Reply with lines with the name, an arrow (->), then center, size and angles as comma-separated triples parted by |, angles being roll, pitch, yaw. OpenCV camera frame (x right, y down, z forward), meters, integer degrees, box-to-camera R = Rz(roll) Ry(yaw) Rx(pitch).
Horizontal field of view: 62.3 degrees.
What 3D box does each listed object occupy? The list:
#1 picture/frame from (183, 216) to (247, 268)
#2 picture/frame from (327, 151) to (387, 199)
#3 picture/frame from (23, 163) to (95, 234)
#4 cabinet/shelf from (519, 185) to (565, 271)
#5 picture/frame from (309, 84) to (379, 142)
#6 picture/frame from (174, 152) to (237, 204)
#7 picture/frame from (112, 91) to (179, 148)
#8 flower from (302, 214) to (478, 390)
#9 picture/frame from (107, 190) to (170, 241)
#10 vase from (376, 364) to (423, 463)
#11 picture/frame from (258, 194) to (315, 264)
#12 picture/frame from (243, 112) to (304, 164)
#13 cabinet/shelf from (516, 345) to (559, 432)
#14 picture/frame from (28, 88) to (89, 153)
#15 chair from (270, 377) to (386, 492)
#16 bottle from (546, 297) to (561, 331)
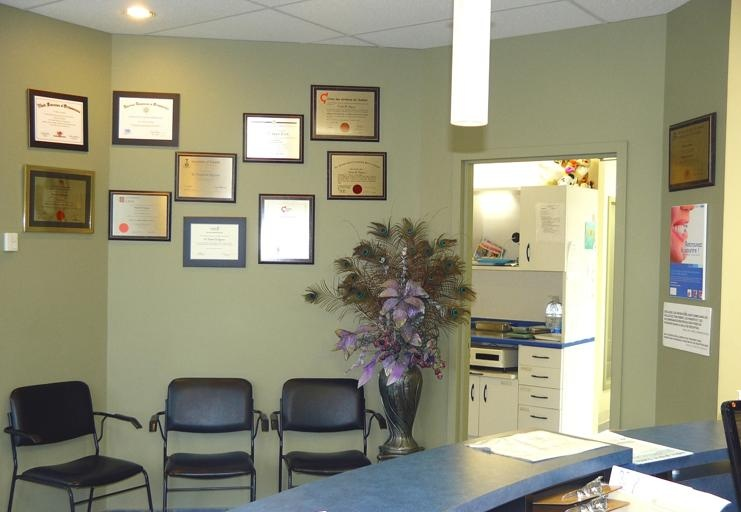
picture/frame -> -1.287, -0.109, 4.932 | 0.397, 0.351, 0.015 | 0, 5, -3
picture/frame -> -0.143, -0.671, 5.022 | 0.374, 0.329, 0.027 | 0, 4, -4
picture/frame -> -2.375, -0.431, 4.609 | 0.522, 0.509, 0.034 | -4, 3, -43
cabinet/shelf -> 1.799, -0.288, 6.689 | 0.570, 0.923, 0.563 | 0, 3, -11
picture/frame -> -0.248, -1.173, 5.009 | 0.455, 0.377, 0.021 | 0, 3, -3
picture/frame -> -1.354, -0.627, 4.921 | 0.395, 0.348, 0.028 | 1, -2, -5
picture/frame -> -1.833, -1.102, 4.901 | 0.431, 0.380, 0.033 | -1, 4, -3
flower -> 0.289, 0.488, 4.639 | 1.173, 1.274, 1.121 | 4, 1, 12
picture/frame -> -1.882, -0.325, 4.893 | 0.390, 0.342, 0.026 | 0, 2, -3
vase -> 0.230, 1.159, 4.630 | 0.431, 0.726, 0.424 | 0, -3, 19
picture/frame -> -0.686, -0.209, 4.982 | 0.465, 0.570, 0.023 | 1, -1, 2
picture/frame -> -0.815, -0.963, 4.972 | 0.397, 0.346, 0.028 | 1, -2, -7
cabinet/shelf -> 1.709, 1.350, 6.214 | 0.460, 0.828, 0.237 | 4, 9, 18
picture/frame -> -2.383, -1.027, 4.616 | 0.529, 0.509, 0.039 | 1, -2, -41
chair -> -0.359, 1.472, 4.675 | 0.805, 0.903, 0.782 | 1, 9, -3
bottle -> 1.973, 0.644, 6.623 | 0.149, 0.344, 0.277 | 3, 9, 11
